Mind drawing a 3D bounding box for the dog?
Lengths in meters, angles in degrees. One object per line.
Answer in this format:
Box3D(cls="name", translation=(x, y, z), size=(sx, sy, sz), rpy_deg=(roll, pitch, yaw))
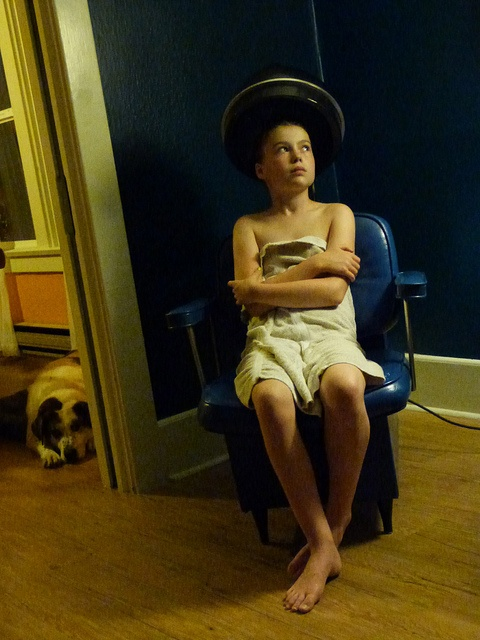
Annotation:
Box3D(cls="dog", translation=(-0.645, 0.286, 1.875), size=(0.247, 0.262, 0.482), rpy_deg=(-16, 24, -23))
